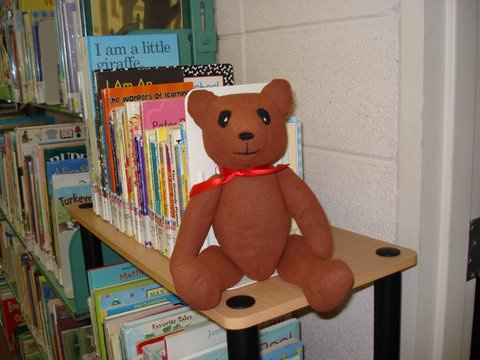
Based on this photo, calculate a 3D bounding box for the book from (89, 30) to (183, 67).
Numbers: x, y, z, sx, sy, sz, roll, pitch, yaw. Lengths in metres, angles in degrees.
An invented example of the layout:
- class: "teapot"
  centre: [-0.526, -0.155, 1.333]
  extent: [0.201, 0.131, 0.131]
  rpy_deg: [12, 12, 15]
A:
- class: "book"
  centre: [-0.292, -0.357, 1.168]
  extent: [0.245, 0.083, 0.048]
  rpy_deg: [-9, 13, -16]

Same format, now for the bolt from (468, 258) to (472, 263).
- class: "bolt"
  centre: [0.516, 0.180, 0.942]
  extent: [0.006, 0.008, 0.002]
  rpy_deg: [0, -2, -28]

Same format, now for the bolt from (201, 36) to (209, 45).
- class: "bolt"
  centre: [-0.110, -0.432, 1.299]
  extent: [0.026, 0.027, 0.004]
  rpy_deg: [3, 16, -27]

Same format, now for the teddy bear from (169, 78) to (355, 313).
- class: "teddy bear"
  centre: [0.032, 0.025, 0.774]
  extent: [0.316, 0.379, 0.259]
  rpy_deg: [-4, 16, 4]
